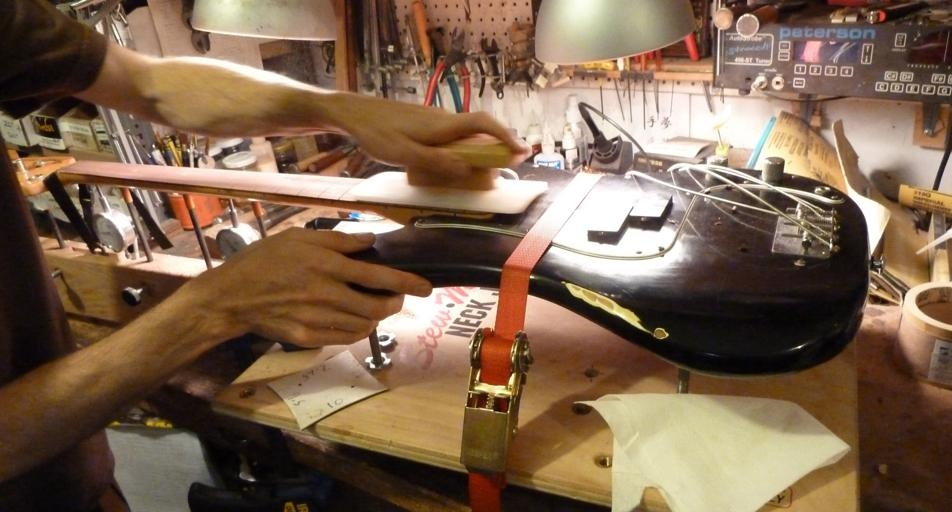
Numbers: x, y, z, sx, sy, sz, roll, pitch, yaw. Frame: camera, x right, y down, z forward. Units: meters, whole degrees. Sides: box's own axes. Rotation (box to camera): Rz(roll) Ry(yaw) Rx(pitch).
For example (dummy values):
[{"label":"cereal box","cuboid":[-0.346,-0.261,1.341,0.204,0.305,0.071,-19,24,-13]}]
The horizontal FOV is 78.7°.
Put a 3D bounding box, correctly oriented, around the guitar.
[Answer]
[{"label":"guitar","cuboid":[0.074,-0.038,1.276,1.419,0.186,0.408,3,28,12]}]
